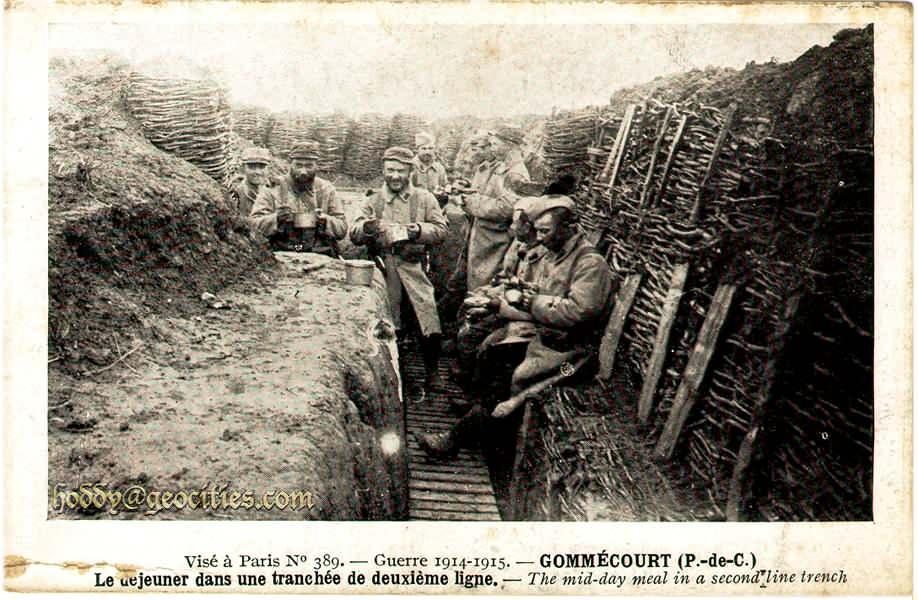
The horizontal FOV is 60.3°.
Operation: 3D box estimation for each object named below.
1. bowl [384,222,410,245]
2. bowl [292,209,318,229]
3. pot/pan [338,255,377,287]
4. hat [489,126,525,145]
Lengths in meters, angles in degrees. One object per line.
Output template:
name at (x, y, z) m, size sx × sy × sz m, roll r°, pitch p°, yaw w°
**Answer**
bowl at (-0.781, -0.808, 9.732) m, size 0.264 × 0.227 × 0.260 m, roll -19°, pitch 0°, yaw 0°
bowl at (-1.842, -0.912, 9.423) m, size 0.329 × 0.208 × 0.167 m, roll -1°, pitch -4°, yaw -10°
pot/pan at (-1.120, -0.301, 8.706) m, size 0.335 × 0.201 × 0.298 m, roll 2°, pitch 6°, yaw -4°
hat at (0.655, -2.222, 10.632) m, size 0.289 × 0.096 × 0.273 m, roll -11°, pitch 32°, yaw -26°
